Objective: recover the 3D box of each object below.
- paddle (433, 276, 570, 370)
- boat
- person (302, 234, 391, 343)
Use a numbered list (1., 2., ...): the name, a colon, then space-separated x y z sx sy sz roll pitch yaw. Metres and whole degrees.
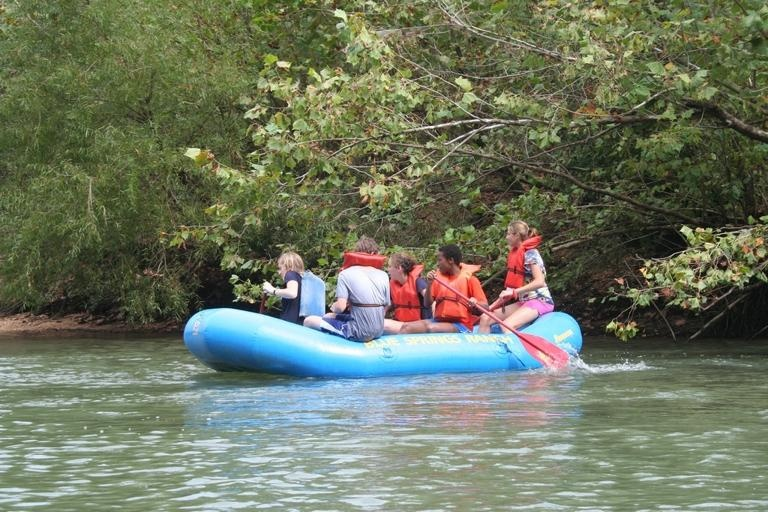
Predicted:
1. paddle: 1.527 0.945 12.873 2.782 0.385 0.180 24 -7 10
2. boat: -0.094 1.216 12.299 4.015 0.460 1.526 1 -4 -19
3. person: -0.252 0.426 12.532 1.373 1.202 1.176 -3 4 0
